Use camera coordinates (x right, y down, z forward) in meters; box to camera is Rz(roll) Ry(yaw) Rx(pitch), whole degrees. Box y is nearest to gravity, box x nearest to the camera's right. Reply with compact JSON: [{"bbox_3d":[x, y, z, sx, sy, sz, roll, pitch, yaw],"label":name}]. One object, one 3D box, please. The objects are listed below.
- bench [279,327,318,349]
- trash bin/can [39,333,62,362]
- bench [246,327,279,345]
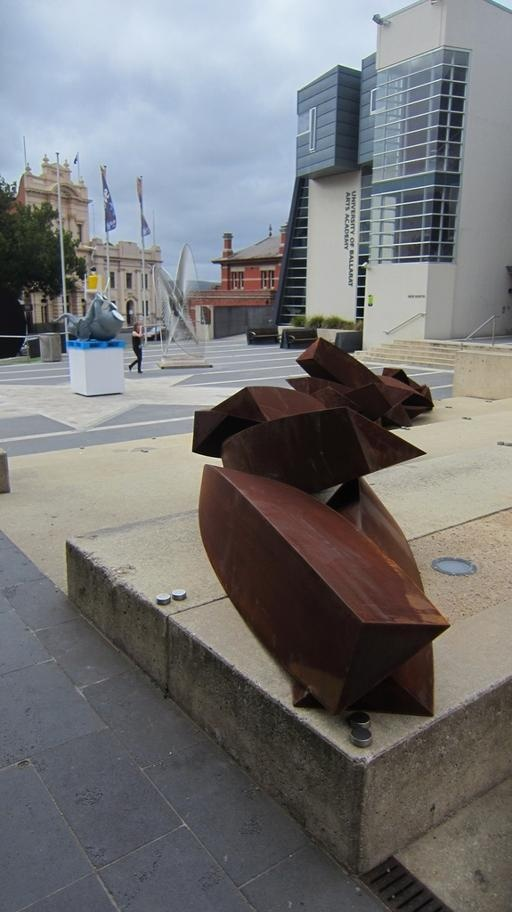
[{"bbox_3d":[2.082,-5.844,31.331,2.015,0.918,0.991,-11,16,-41],"label":"bench"},{"bbox_3d":[-8.111,-4.243,24.926,0.694,1.063,0.886,-6,13,-25],"label":"trash bin/can"},{"bbox_3d":[0.337,-6.640,35.086,1.648,0.861,1.045,-1,12,0],"label":"bench"}]
